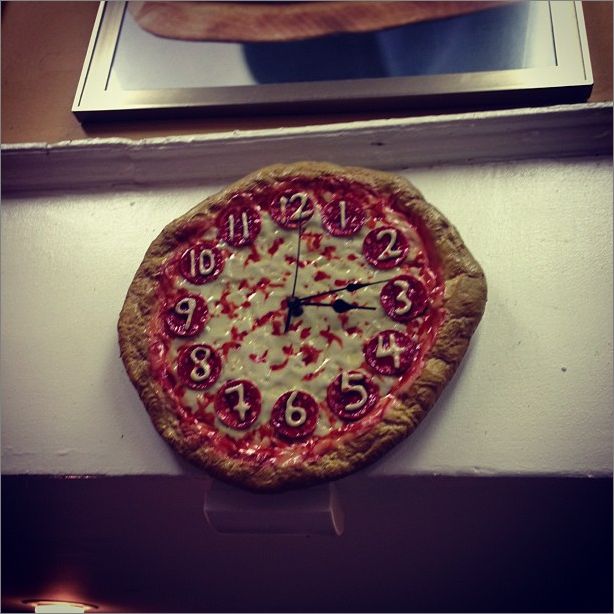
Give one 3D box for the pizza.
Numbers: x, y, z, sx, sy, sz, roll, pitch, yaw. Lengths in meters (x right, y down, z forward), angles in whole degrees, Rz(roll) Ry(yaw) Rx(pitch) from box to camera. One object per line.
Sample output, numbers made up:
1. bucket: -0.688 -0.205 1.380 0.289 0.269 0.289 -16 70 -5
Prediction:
1. pizza: -0.044 0.034 3.148 1.369 0.201 1.260 -30 70 -9
